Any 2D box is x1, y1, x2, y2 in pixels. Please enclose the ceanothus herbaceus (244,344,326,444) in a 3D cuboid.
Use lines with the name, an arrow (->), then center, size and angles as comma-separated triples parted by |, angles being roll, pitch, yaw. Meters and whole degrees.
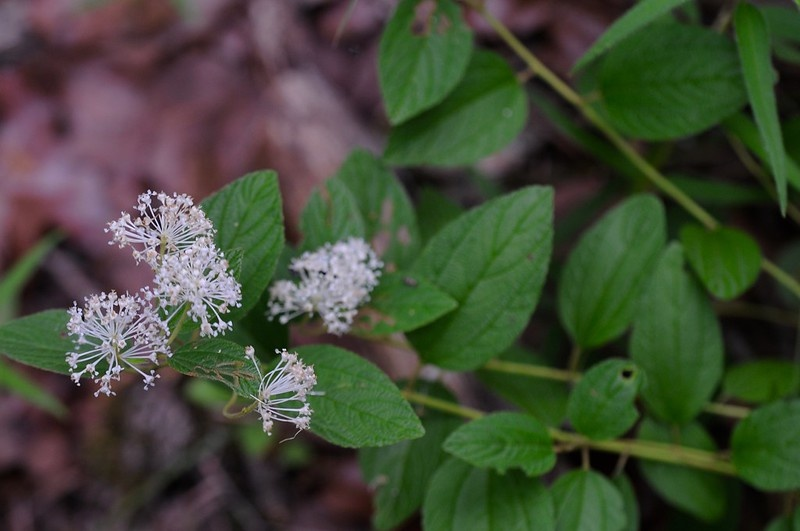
ceanothus herbaceus -> -0.232, 0.228, 1.157 | 0.187, 0.125, 0.151 | 2, 5, -30

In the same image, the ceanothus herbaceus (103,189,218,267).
ceanothus herbaceus -> -0.419, -0.064, 1.169 | 0.155, 0.068, 0.154 | 0, -17, -8

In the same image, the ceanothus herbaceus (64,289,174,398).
ceanothus herbaceus -> -0.513, 0.140, 1.177 | 0.123, 0.154, 0.113 | -1, 0, -21
